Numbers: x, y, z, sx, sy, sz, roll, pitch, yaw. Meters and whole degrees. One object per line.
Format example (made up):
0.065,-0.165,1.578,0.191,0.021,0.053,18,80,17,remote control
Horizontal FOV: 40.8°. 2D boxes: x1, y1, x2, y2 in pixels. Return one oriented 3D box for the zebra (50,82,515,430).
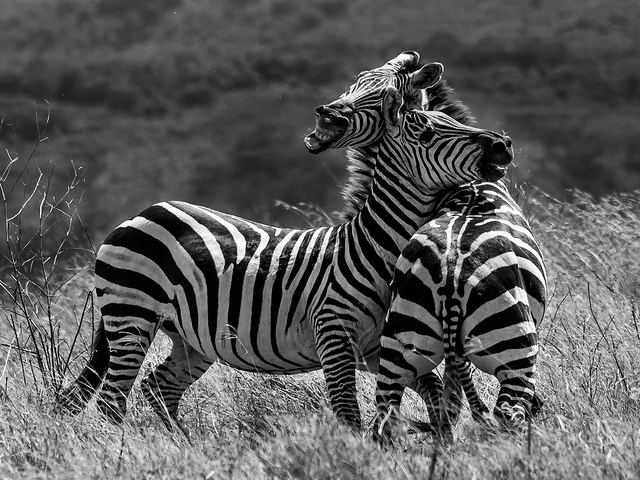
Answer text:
-0.343,0.310,6.572,3.562,2.942,0.925,-4,-4,14,zebra
